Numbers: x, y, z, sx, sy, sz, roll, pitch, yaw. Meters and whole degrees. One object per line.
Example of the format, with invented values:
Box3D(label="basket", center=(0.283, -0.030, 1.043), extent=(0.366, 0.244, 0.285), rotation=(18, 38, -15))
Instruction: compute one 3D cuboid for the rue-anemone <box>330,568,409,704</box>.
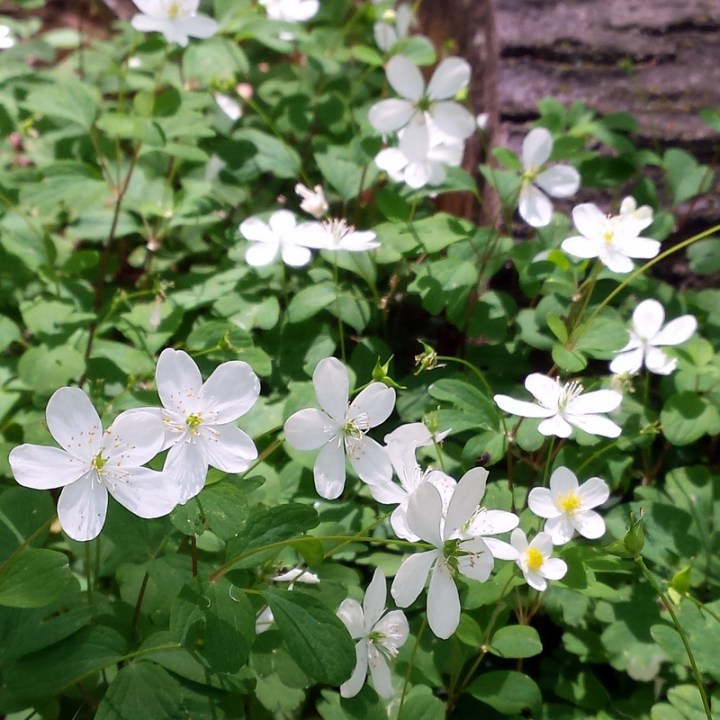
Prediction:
Box3D(label="rue-anemone", center=(0.026, 0.532, 1.671), extent=(0.139, 0.223, 0.143), rotation=(5, 35, -7))

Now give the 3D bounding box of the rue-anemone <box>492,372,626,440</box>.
Box3D(label="rue-anemone", center=(0.457, 0.088, 1.930), extent=(0.305, 0.120, 0.276), rotation=(10, -3, 44))

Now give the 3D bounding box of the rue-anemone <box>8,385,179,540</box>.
Box3D(label="rue-anemone", center=(-0.476, 0.187, 1.550), extent=(0.223, 0.091, 0.256), rotation=(25, 6, 6))

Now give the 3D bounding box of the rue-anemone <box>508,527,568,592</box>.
Box3D(label="rue-anemone", center=(0.349, 0.412, 1.732), extent=(0.108, 0.057, 0.129), rotation=(23, 56, -9))

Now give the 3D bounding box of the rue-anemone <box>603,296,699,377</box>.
Box3D(label="rue-anemone", center=(0.689, -0.030, 2.024), extent=(0.183, 0.159, 0.203), rotation=(15, 36, 5))

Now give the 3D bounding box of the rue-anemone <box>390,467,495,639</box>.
Box3D(label="rue-anemone", center=(0.153, 0.365, 1.618), extent=(0.123, 0.326, 0.251), rotation=(6, 67, 19))
